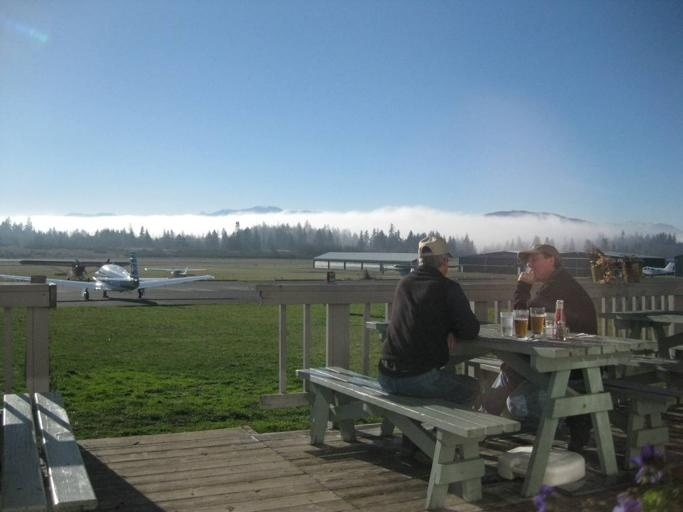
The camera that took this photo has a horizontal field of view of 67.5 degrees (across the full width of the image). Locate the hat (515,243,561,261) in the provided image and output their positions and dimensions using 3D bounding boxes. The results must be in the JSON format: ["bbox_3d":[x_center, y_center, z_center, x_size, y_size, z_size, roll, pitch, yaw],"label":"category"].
[{"bbox_3d":[2.002,-0.045,5.128,0.242,0.105,0.162,3,-9,-1],"label":"hat"}]

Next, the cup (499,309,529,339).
[{"bbox_3d":[1.467,0.571,4.370,0.205,0.191,0.244,3,-10,-7],"label":"cup"}]

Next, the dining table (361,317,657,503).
[{"bbox_3d":[1.602,1.294,4.694,0.958,1.063,2.039,1,-7,-18],"label":"dining table"}]
